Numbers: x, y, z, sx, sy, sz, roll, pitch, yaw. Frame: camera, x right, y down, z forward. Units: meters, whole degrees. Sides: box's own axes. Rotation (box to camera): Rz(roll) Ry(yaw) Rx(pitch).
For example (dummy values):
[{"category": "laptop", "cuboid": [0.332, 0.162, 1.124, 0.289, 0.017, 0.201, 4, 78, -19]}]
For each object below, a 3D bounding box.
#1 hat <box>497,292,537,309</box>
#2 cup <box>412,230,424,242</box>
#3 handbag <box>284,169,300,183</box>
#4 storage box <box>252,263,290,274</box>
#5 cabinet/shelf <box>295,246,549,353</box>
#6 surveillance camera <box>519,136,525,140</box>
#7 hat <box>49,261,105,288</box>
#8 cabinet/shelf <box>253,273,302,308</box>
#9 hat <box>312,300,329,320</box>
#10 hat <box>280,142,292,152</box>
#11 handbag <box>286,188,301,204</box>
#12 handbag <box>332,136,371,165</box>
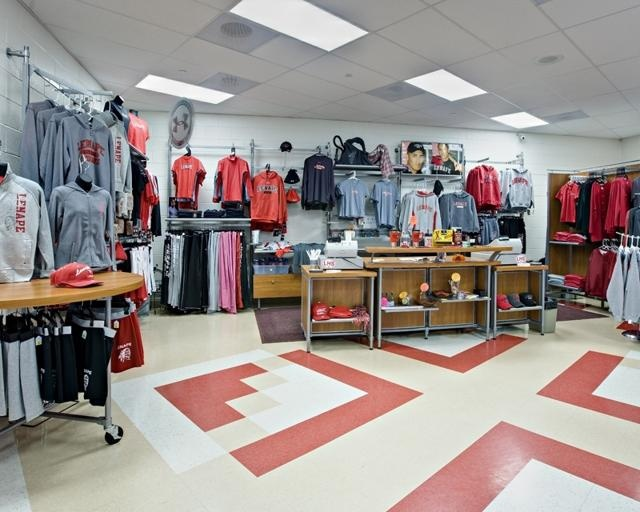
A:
[{"category": "hat", "cuboid": [2.349, 0.550, 5.332, 0.233, 0.112, 0.376, 0, 0, -8]}, {"category": "cup", "cuboid": [1.205, -0.221, 5.341, 0.185, 0.188, 0.124, 1, 1, 23]}, {"category": "handbag", "cuboid": [-0.445, -1.246, 7.255, 0.253, 0.217, 0.269, 2, 32, -3]}, {"category": "storage box", "cuboid": [-0.727, 0.209, 6.745, 0.545, 0.160, 0.085, -3, 10, -14]}, {"category": "cabinet/shelf", "cuboid": [1.268, 0.455, 5.171, 2.968, 1.052, 0.648, -2, 10, -11]}, {"category": "surveillance camera", "cuboid": [3.890, -2.225, 8.514, 0.077, 0.077, 0.026, -13, 3, -24]}, {"category": "hat", "cuboid": [-1.632, 0.121, 2.922, 0.252, 0.100, 0.172, 2, 1, 19]}, {"category": "cabinet/shelf", "cuboid": [-0.682, 0.442, 6.935, 0.827, 0.536, 0.493, 0, 5, -11]}, {"category": "hat", "cuboid": [0.004, 0.610, 4.780, 0.195, 0.117, 0.222, -1, 10, -3]}, {"category": "hat", "cuboid": [-0.551, -1.753, 7.256, 0.210, 0.178, 0.402, -1, 10, -5]}, {"category": "handbag", "cuboid": [-0.454, -0.967, 7.285, 0.272, 0.291, 0.178, 1, -12, -36]}, {"category": "handbag", "cuboid": [0.512, -1.729, 7.558, 0.615, 0.577, 0.475, -2, 4, -4]}]
